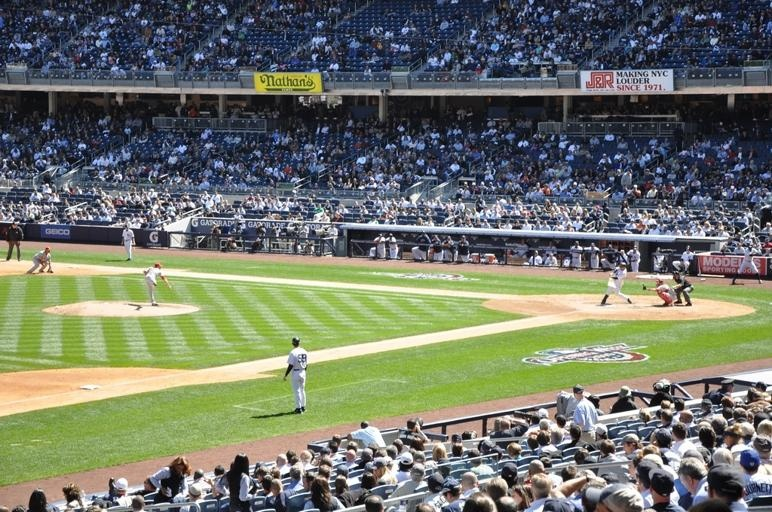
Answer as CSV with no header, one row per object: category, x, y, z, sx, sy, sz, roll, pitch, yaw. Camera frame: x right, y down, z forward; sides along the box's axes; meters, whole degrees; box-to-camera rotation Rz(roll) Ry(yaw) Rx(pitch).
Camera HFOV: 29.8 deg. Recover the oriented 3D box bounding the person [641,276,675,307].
person,13.643,1.802,71.743,1.048,1.268,1.836,-2,7,-4
